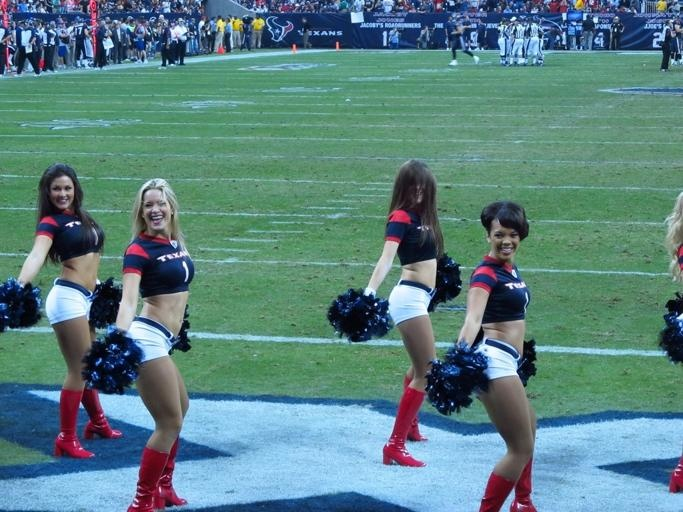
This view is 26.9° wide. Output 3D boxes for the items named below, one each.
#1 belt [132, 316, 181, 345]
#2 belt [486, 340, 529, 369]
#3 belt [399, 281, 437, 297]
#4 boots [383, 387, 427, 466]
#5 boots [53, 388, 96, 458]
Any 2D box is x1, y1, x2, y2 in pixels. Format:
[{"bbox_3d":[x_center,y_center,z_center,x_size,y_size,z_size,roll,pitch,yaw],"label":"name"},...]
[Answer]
[{"bbox_3d":[-1.606,0.628,12.434,0.281,0.101,0.273,20,-5,1],"label":"belt"},{"bbox_3d":[1.397,0.859,12.181,0.264,0.199,0.271,32,-9,-18],"label":"belt"},{"bbox_3d":[0.698,0.307,13.228,0.193,0.050,0.194,16,-7,-7],"label":"belt"},{"bbox_3d":[0.656,1.586,13.030,0.463,0.703,0.224,3,-9,34],"label":"boots"},{"bbox_3d":[-2.473,1.529,13.132,0.320,0.636,0.332,-3,11,-27],"label":"boots"}]
